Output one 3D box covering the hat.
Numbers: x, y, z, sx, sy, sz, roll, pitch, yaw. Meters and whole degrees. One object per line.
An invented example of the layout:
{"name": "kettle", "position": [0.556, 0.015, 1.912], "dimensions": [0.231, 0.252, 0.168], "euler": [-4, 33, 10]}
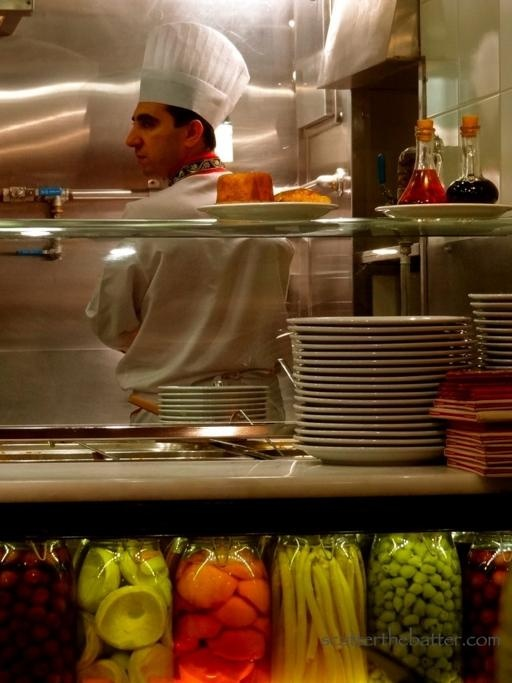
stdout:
{"name": "hat", "position": [-0.138, -0.544, 1.391], "dimensions": [0.260, 0.155, 0.226], "euler": [22, 3, 36]}
